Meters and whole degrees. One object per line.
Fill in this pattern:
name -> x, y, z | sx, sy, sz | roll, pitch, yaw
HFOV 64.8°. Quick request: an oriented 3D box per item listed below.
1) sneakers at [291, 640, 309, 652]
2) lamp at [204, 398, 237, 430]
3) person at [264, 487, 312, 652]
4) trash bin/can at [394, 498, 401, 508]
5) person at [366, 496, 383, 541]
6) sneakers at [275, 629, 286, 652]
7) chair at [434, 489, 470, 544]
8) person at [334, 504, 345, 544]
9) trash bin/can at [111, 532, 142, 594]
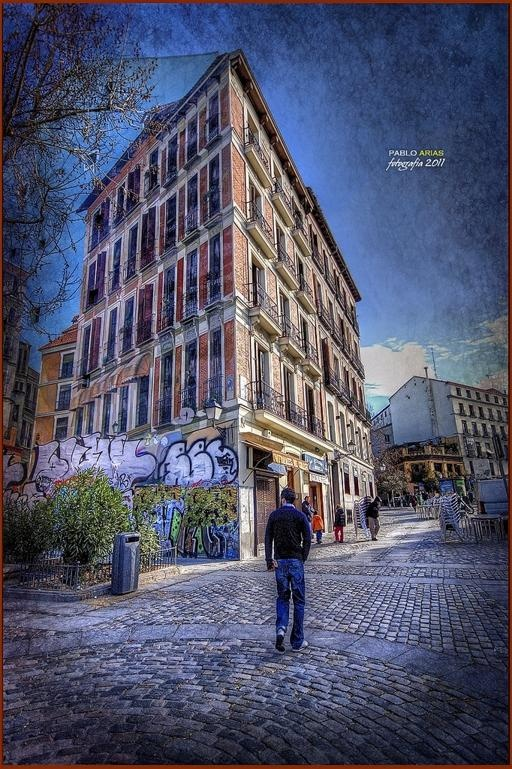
sneakers -> 0.456, 2.698, 4.136 | 0.067, 0.080, 0.190 | -6, -14, 36
lamp -> -1.346, 1.045, 13.859 | 0.962, 1.098, 1.098 | -6, 23, 10
person -> 0.392, 2.062, 4.583 | 0.519, 1.665, 0.832 | -5, -15, 1
trash bin/can -> 15.434, 12.811, 43.611 | 0.840, 1.173, 3.274 | -9, -15, 17
person -> 4.413, 5.081, 15.024 | 0.546, 1.456, 0.970 | -8, -15, 13
sneakers -> 0.256, 2.635, 4.070 | 0.083, 0.236, 0.161 | 2, 17, 6
chair -> 6.281, 4.239, 12.849 | 0.862, 1.482, 2.546 | -11, -16, 23
person -> 3.376, 5.730, 16.266 | 0.437, 1.376, 1.910 | -7, -15, 10
trash bin/can -> -2.472, 3.420, 7.637 | 0.475, 1.086, 0.417 | 2, -16, -24
